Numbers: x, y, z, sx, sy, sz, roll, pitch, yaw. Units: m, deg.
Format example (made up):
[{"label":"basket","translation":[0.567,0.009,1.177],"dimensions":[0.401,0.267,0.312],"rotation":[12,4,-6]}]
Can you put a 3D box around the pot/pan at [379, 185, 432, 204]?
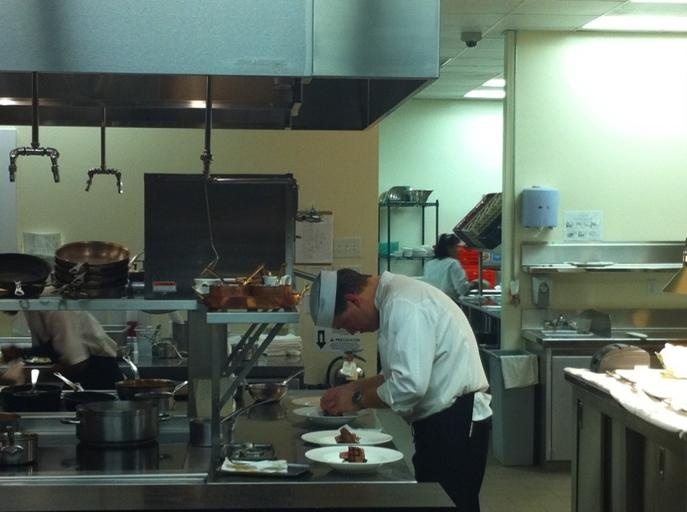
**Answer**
[{"label":"pot/pan","translation":[0.651,-0.655,9.586],"dimensions":[0.371,0.114,0.277],"rotation":[0,-1,18]}]

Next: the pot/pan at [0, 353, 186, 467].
[{"label":"pot/pan","translation":[-1.233,0.825,4.338],"dimensions":[0.869,0.238,0.643],"rotation":[0,4,5]}]

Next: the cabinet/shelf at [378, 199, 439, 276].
[{"label":"cabinet/shelf","translation":[0.730,0.019,9.986],"dimensions":[0.772,1.277,0.539],"rotation":[-3,8,4]}]

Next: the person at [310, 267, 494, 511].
[{"label":"person","translation":[0.298,0.689,4.498],"dimensions":[0.871,1.238,0.529],"rotation":[1,4,9]}]

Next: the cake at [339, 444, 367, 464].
[{"label":"cake","translation":[0.039,0.909,4.142],"dimensions":[0.128,0.056,0.155],"rotation":[0,4,0]}]

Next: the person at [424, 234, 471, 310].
[{"label":"person","translation":[1.063,0.138,9.053],"dimensions":[0.447,0.748,0.527],"rotation":[-7,9,-35]}]

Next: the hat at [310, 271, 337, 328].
[{"label":"hat","translation":[-0.106,0.213,4.452],"dimensions":[0.133,0.281,0.142],"rotation":[0,4,-1]}]

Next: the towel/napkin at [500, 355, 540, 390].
[{"label":"towel/napkin","translation":[1.341,0.861,6.734],"dimensions":[0.308,0.251,0.043],"rotation":[1,-16,-31]}]

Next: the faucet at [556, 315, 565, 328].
[{"label":"faucet","translation":[1.690,0.510,6.988],"dimensions":[0.062,0.075,0.081],"rotation":[0,-4,-2]}]

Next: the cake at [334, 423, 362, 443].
[{"label":"cake","translation":[0.012,0.867,4.370],"dimensions":[0.119,0.058,0.166],"rotation":[0,4,-1]}]
